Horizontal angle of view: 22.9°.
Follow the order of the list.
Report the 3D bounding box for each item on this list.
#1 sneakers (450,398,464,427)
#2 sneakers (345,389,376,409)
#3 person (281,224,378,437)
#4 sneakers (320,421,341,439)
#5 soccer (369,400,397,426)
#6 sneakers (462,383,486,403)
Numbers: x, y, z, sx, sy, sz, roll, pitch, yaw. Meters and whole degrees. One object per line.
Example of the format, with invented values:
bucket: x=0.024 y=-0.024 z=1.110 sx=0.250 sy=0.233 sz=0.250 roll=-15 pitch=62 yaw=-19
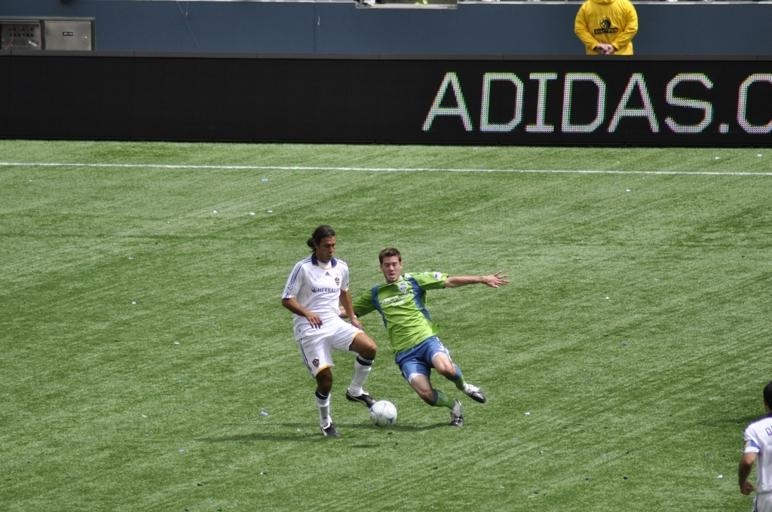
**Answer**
sneakers: x=1.019 y=2.095 z=25.988 sx=0.154 sy=0.382 sz=0.177 roll=1 pitch=23 yaw=18
sneakers: x=-0.391 y=1.918 z=26.208 sx=0.531 sy=0.201 sz=0.165 roll=11 pitch=24 yaw=8
person: x=-0.776 y=0.968 z=25.955 sx=1.154 sy=2.840 sz=0.715 roll=-8 pitch=7 yaw=-22
sneakers: x=-0.736 y=2.331 z=25.874 sx=0.215 sy=0.144 sz=0.362 roll=1 pitch=8 yaw=-7
soccer: x=0.055 y=2.084 z=25.822 sx=0.356 sy=0.246 sz=0.336 roll=0 pitch=-10 yaw=29
sneakers: x=1.249 y=1.830 z=26.101 sx=0.215 sy=0.151 sz=0.451 roll=-5 pitch=-12 yaw=17
